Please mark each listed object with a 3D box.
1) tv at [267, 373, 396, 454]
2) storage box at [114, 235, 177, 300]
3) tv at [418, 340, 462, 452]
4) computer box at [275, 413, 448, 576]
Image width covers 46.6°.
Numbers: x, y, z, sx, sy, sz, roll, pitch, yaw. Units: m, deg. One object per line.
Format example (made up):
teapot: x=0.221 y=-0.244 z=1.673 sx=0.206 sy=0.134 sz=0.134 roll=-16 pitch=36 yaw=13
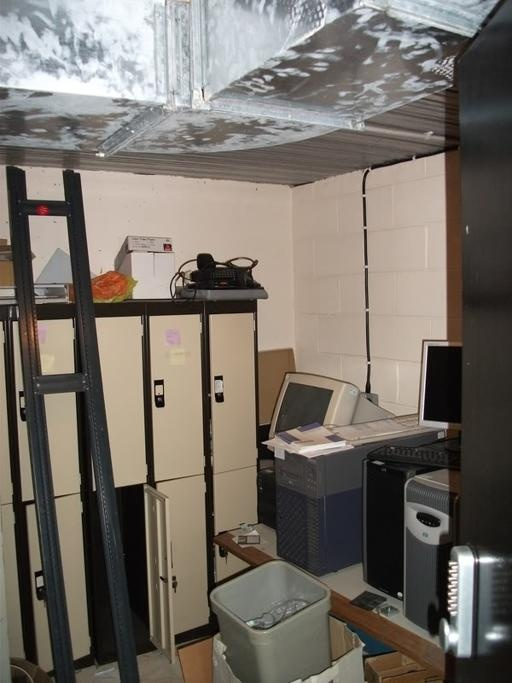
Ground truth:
tv: x=0.335 y=0.390 z=2.793 sx=0.354 sy=0.327 sz=0.472 roll=29 pitch=-17 yaw=-29
storage box: x=-0.588 y=-0.365 z=3.129 sx=0.240 sy=0.276 sz=0.406 roll=-1 pitch=-8 yaw=-29
tv: x=0.775 y=0.178 z=2.437 sx=0.023 sy=0.351 sz=0.259 roll=4 pitch=-3 yaw=-25
computer box: x=0.366 y=0.633 z=2.420 sx=0.559 sy=0.451 sz=0.275 roll=-3 pitch=2 yaw=-38
